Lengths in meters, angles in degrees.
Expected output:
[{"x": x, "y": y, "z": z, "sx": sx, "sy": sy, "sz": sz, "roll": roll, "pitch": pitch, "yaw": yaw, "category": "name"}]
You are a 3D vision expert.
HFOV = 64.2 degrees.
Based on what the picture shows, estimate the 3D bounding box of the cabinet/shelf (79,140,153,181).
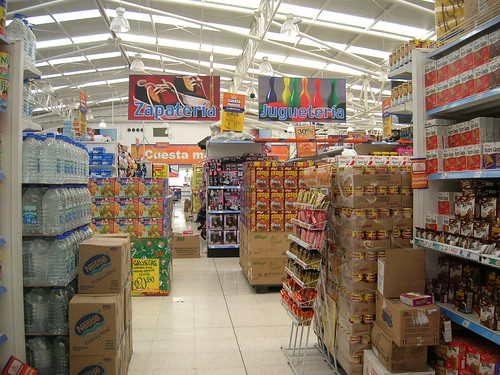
[{"x": -2.614, "y": -0.652, "z": 8.197, "sx": 1.183, "sy": 0.416, "sz": 0.390, "roll": 2, "pitch": 9, "yaw": -8, "category": "cabinet/shelf"}]

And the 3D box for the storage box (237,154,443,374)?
[{"x": 0.892, "y": 0.835, "z": 4.061, "sx": 0.630, "sy": 2.072, "sz": 2.126, "roll": 1, "pitch": -4, "yaw": -9, "category": "storage box"}]
